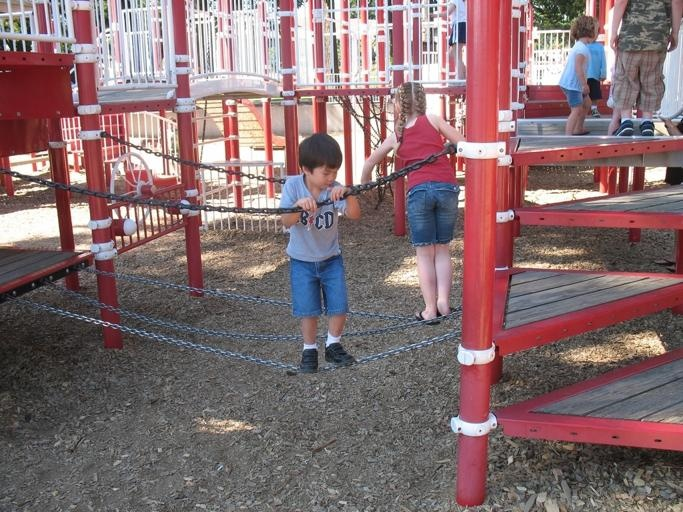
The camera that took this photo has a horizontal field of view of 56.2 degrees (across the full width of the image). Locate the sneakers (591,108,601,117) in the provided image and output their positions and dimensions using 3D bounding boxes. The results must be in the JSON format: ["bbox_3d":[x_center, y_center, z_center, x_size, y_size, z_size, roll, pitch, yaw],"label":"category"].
[{"bbox_3d":[3.337,-1.894,8.423,0.110,0.102,0.270,-4,4,14],"label":"sneakers"}]

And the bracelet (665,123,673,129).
[{"bbox_3d":[2.876,-1.155,5.622,0.037,0.067,0.036,-37,-23,4],"label":"bracelet"}]

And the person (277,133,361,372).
[{"bbox_3d":[-0.116,0.051,3.597,0.432,1.466,0.471,-2,19,-3],"label":"person"}]

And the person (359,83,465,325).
[{"bbox_3d":[0.469,-0.308,4.231,0.606,1.624,1.009,0,19,5],"label":"person"}]

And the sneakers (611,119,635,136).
[{"bbox_3d":[2.295,-1.059,5.252,0.130,0.125,0.326,1,13,2],"label":"sneakers"}]

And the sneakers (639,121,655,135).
[{"bbox_3d":[2.450,-1.029,5.119,0.087,0.087,0.233,-1,7,14],"label":"sneakers"}]

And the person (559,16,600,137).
[{"bbox_3d":[2.364,-1.864,6.458,0.320,1.151,1.173,6,19,20],"label":"person"}]

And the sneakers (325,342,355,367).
[{"bbox_3d":[-0.017,0.565,3.649,0.095,0.085,0.218,-7,7,-38],"label":"sneakers"}]
